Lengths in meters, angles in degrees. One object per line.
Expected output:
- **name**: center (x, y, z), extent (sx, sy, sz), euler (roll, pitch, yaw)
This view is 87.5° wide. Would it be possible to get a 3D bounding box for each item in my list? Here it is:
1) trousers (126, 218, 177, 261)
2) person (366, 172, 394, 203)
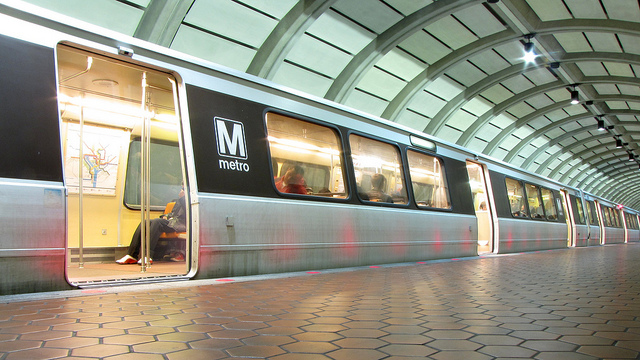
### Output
- **trousers**: center (-3.780, 1.311, 7.196), extent (0.916, 0.955, 1.641), euler (3, -7, -13)
- **person**: center (1.399, 0.205, 7.891), extent (0.838, 0.597, 0.399), euler (2, 2, -24)
